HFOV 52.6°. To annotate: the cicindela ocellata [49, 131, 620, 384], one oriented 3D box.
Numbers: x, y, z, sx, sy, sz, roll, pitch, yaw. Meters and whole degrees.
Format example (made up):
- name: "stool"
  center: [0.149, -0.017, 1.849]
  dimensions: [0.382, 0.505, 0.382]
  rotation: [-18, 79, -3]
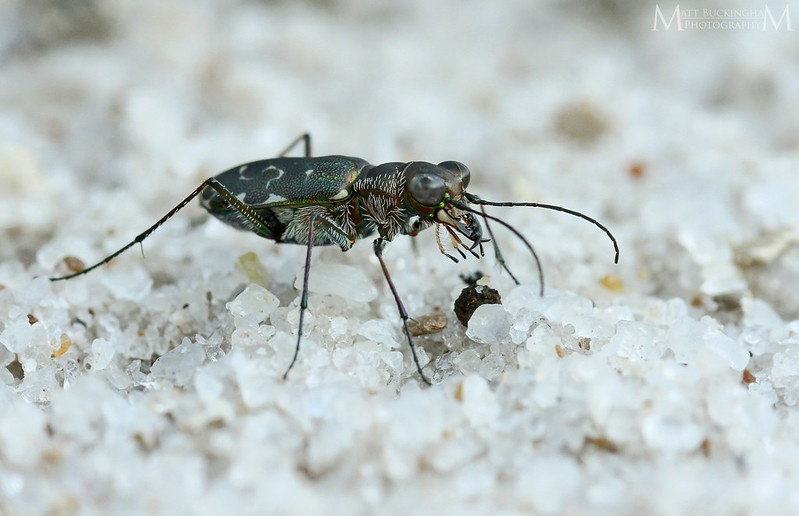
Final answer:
- name: "cicindela ocellata"
  center: [-0.272, -0.343, 4.743]
  dimensions: [2.222, 0.691, 1.638]
  rotation: [15, 28, 28]
